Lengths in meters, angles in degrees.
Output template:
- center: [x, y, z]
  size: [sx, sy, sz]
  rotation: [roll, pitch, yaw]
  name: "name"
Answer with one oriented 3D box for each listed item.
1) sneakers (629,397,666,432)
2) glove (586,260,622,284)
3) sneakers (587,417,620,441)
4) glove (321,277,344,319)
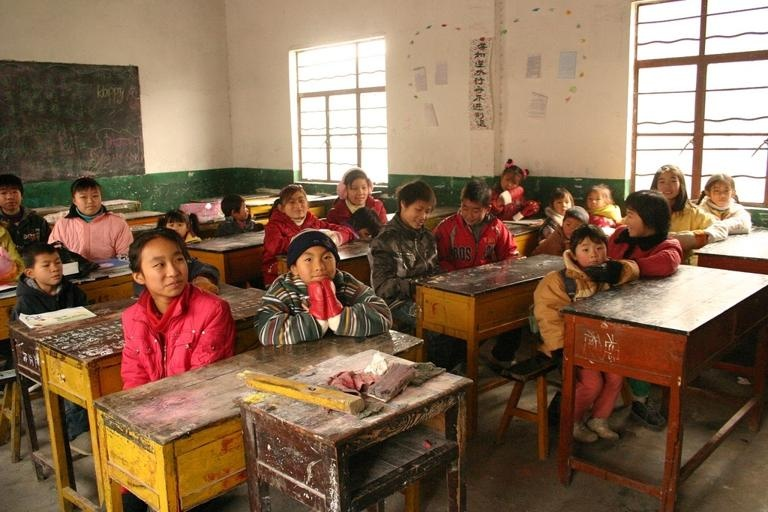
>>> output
- center: [1.537, 0.920, 3.094]
  size: [0.108, 0.091, 0.221]
  rotation: [-26, 27, -31]
  name: "sneakers"
- center: [1.187, 0.086, 2.840]
  size: [0.145, 0.054, 0.140]
  rotation: [-19, 30, -35]
  name: "glove"
- center: [1.214, 0.959, 2.978]
  size: [0.186, 0.119, 0.100]
  rotation: [4, 6, 34]
  name: "sneakers"
- center: [-0.228, 0.191, 2.415]
  size: [0.074, 0.187, 0.080]
  rotation: [-18, -4, 0]
  name: "glove"
